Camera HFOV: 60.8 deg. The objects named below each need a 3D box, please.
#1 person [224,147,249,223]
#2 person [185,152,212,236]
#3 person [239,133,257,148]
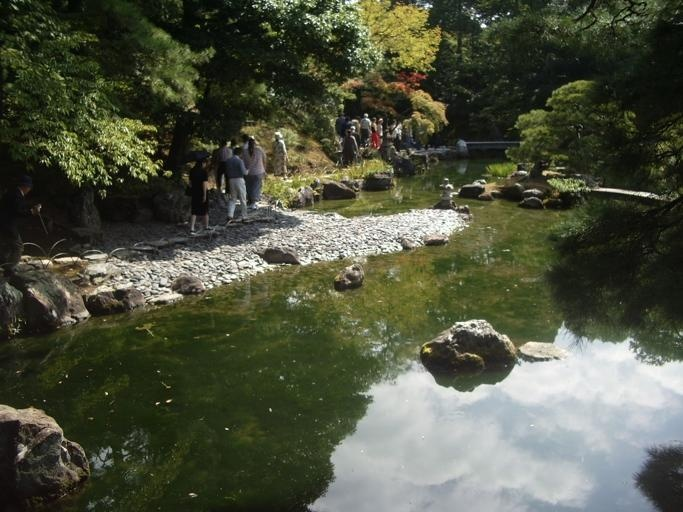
[{"bbox_3d":[-2.810,-1.800,15.379,0.602,1.705,1.012,-7,13,-11],"label":"person"},{"bbox_3d":[-3.455,-1.529,13.984,0.609,1.885,0.500,-8,14,-15],"label":"person"},{"bbox_3d":[-2.722,-3.295,16.740,0.294,0.415,1.102,-7,14,-12],"label":"person"}]
